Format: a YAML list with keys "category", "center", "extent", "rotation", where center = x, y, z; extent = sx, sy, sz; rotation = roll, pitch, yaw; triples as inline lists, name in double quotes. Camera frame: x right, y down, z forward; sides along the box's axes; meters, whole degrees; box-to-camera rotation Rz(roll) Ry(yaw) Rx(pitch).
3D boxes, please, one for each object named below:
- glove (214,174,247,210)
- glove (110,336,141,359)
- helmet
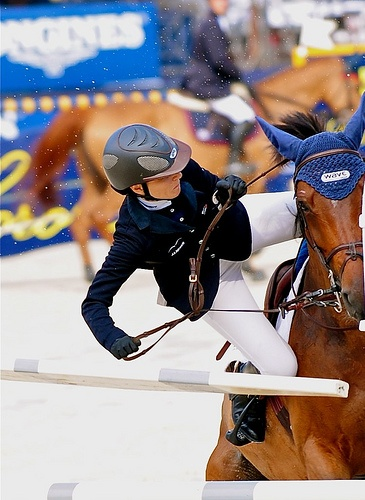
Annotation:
- category: "glove"
  center: [0.165, -0.199, 2.588]
  extent: [0.084, 0.113, 0.056]
  rotation: [50, 26, 9]
- category: "glove"
  center: [-0.181, 0.309, 2.387]
  extent: [0.069, 0.090, 0.035]
  rotation: [25, 42, -28]
- category: "helmet"
  center: [-0.117, -0.308, 2.570]
  extent: [0.298, 0.242, 0.269]
  rotation: [-6, 30, 0]
